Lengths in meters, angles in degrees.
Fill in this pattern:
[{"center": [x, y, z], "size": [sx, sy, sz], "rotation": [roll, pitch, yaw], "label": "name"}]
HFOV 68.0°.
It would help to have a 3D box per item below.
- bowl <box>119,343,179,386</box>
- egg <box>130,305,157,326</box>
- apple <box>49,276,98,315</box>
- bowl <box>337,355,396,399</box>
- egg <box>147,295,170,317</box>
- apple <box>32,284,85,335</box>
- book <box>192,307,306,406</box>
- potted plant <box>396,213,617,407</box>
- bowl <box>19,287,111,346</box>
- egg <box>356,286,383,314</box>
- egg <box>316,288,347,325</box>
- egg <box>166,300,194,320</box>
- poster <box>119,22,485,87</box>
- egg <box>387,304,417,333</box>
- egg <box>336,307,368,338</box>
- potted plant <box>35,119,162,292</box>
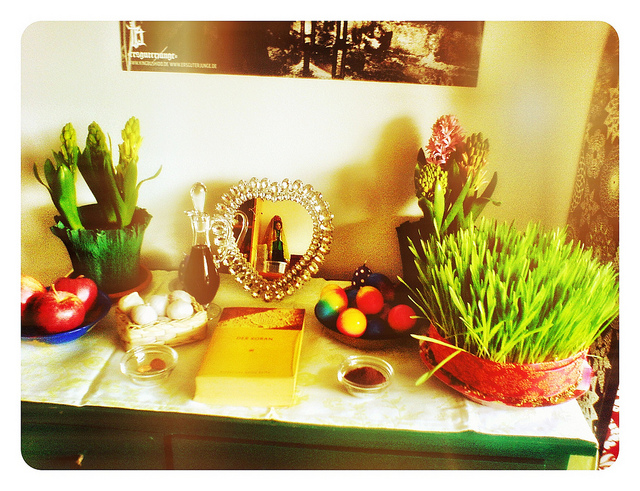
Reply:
[{"center": [-0.424, 0.297, 1.187], "size": [0.134, 0.064, 0.105], "rotation": [-2, 26, -15], "label": "bowl"}, {"center": [-0.451, 0.177, 1.223], "size": [0.054, 0.034, 0.052], "rotation": [-13, 30, -32], "label": "egg"}, {"center": [-0.642, 0.115, 1.246], "size": [0.096, 0.101, 0.097], "rotation": [-4, 10, -23], "label": "apple"}, {"center": [0.120, 0.341, 1.205], "size": [0.156, 0.062, 0.161], "rotation": [1, 7, 0], "label": "bowl"}, {"center": [-0.425, 0.155, 1.260], "size": [0.051, 0.053, 0.051], "rotation": [15, 11, -21], "label": "egg"}, {"center": [-0.674, 0.151, 1.249], "size": [0.107, 0.135, 0.104], "rotation": [15, 11, 42], "label": "apple"}, {"center": [-0.171, 0.275, 1.237], "size": [0.239, 0.109, 0.284], "rotation": [5, 26, 1], "label": "book"}, {"center": [0.442, 0.186, 1.310], "size": [0.461, 0.380, 0.507], "rotation": [-3, 26, 0], "label": "potted plant"}, {"center": [-0.634, 0.206, 1.264], "size": [0.138, 0.040, 0.149], "rotation": [1, 34, -1], "label": "bowl"}, {"center": [0.133, 0.143, 1.281], "size": [0.063, 0.081, 0.065], "rotation": [0, 4, 4], "label": "egg"}, {"center": [0.031, 0.162, 1.287], "size": [0.067, 0.097, 0.071], "rotation": [24, 22, 10], "label": "egg"}, {"center": [-0.367, 0.168, 1.247], "size": [0.050, 0.052, 0.051], "rotation": [-1, -12, -8], "label": "egg"}, {"center": [-0.054, -0.551, 1.317], "size": [1.000, 0.198, 0.032], "rotation": [5, 25, 0], "label": "poster"}, {"center": [0.219, 0.190, 1.303], "size": [0.078, 0.070, 0.068], "rotation": [-20, -7, 38], "label": "egg"}, {"center": [0.088, 0.202, 1.295], "size": [0.081, 0.073, 0.073], "rotation": [-20, -22, 12], "label": "egg"}, {"center": [-0.632, -0.120, 1.399], "size": [0.328, 0.483, 0.245], "rotation": [-1, 21, -24], "label": "potted plant"}]
